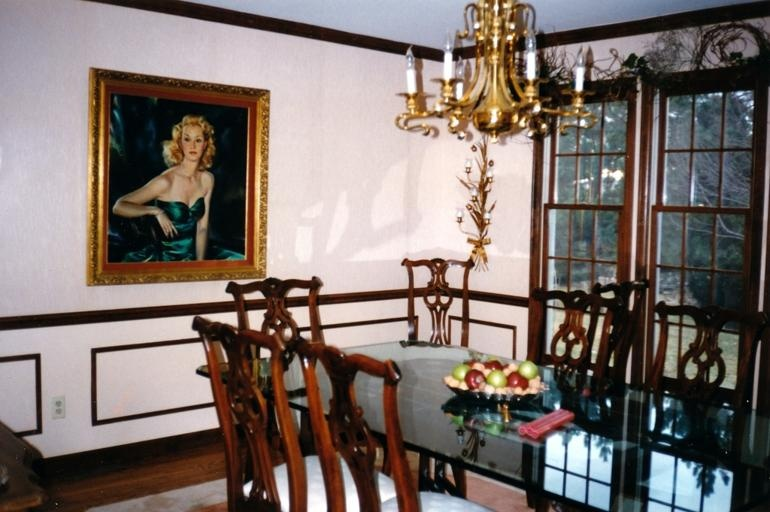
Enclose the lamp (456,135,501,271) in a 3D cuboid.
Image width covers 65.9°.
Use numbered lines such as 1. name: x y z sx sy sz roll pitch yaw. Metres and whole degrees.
1. lamp: 0.851 -0.483 5.450 0.274 1.209 0.387 -3 14 -12
